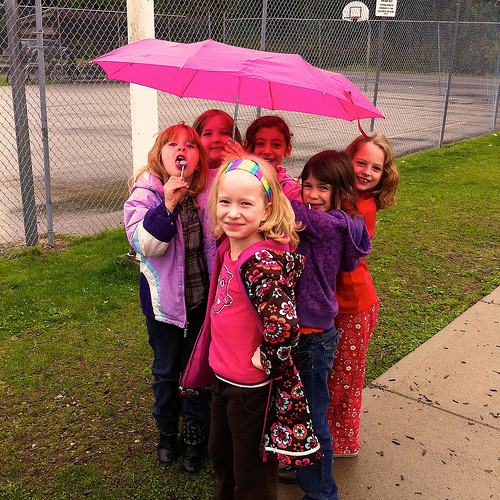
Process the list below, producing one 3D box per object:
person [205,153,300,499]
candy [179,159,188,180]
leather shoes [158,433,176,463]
[{"bbox_3d":[-0.006,0.396,2.373,0.457,1.578,0.446,3,11,9],"label":"person"},{"bbox_3d":[-0.326,-0.400,2.648,0.041,0.081,0.084,-1,12,-8],"label":"candy"},{"bbox_3d":[-0.464,1.107,3.023,0.066,0.134,0.181,4,5,-4],"label":"leather shoes"}]
